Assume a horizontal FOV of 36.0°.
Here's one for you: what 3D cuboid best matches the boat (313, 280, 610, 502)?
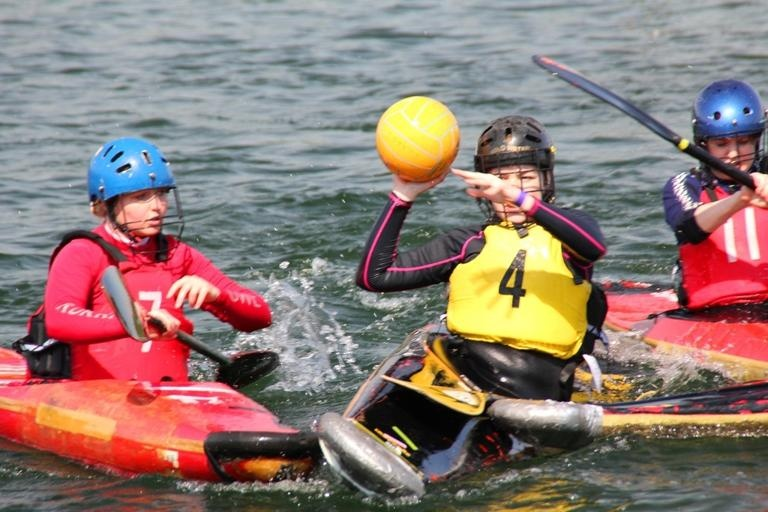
[{"bbox_3d":[0.622,1.111,9.186,2.263,0.588,1.063,-25,57,-37],"label":"boat"}]
